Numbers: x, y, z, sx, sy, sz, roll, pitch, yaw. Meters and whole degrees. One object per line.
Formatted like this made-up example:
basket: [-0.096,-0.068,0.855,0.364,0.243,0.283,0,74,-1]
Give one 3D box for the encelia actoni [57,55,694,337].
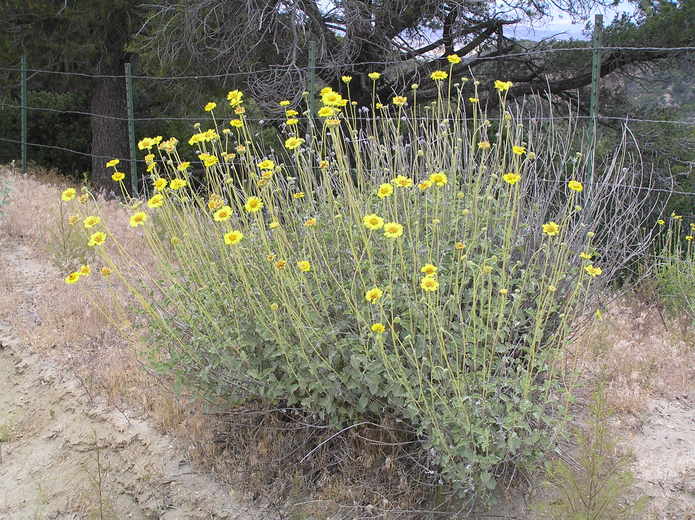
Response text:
encelia actoni: [0.596,-0.732,5.658,3.470,2.158,3.367,7,18,23]
